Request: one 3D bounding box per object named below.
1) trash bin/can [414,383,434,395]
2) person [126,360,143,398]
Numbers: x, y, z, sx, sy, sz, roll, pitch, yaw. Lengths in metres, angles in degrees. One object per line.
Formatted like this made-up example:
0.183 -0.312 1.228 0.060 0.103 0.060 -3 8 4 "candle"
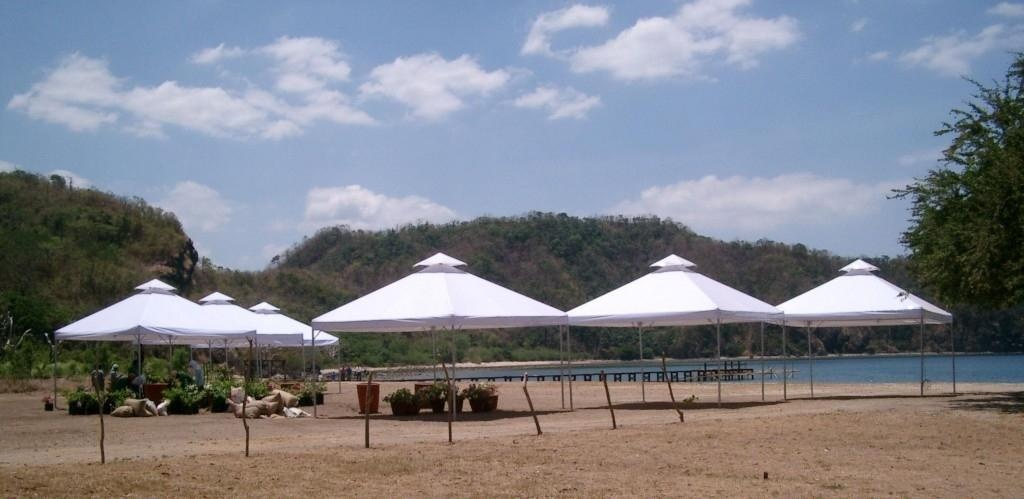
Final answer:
-7.019 11.103 94.446 1.121 0.594 1.041 0 -6 0 "trash bin/can"
-30.686 10.577 96.379 1.215 3.321 1.149 14 -44 -23 "person"
